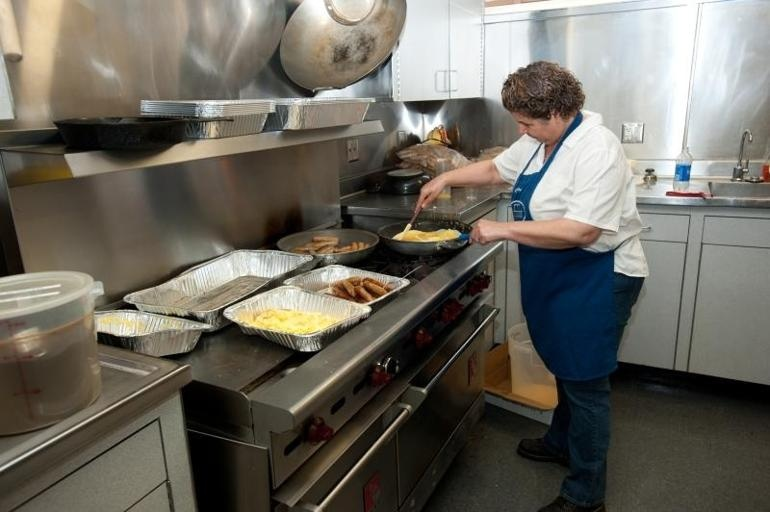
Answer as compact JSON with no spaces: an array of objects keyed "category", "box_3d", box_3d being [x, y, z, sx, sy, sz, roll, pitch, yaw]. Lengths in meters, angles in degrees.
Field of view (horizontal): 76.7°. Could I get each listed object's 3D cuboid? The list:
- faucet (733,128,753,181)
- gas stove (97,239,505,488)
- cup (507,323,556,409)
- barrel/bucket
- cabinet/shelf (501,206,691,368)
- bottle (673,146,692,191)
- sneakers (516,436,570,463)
[{"category":"faucet","box_3d":[2.360,-0.665,3.187,0.087,0.317,0.162,13,24,34]},{"category":"gas stove","box_3d":[-0.132,0.280,1.976,0.722,0.250,1.348,7,22,32]},{"category":"cup","box_3d":[0.860,0.626,2.951,0.416,0.397,0.378,1,17,18]},{"category":"barrel/bucket","box_3d":[0.847,0.608,2.961,0.406,0.401,0.404,-4,16,1]},{"category":"cabinet/shelf","box_3d":[1.320,0.136,3.563,1.402,1.278,0.938,8,6,22]},{"category":"bottle","box_3d":[1.894,-0.556,3.090,0.085,0.238,0.221,9,22,27]},{"category":"sneakers","box_3d":[0.852,1.029,2.640,0.273,0.106,0.101,9,17,20]}]
